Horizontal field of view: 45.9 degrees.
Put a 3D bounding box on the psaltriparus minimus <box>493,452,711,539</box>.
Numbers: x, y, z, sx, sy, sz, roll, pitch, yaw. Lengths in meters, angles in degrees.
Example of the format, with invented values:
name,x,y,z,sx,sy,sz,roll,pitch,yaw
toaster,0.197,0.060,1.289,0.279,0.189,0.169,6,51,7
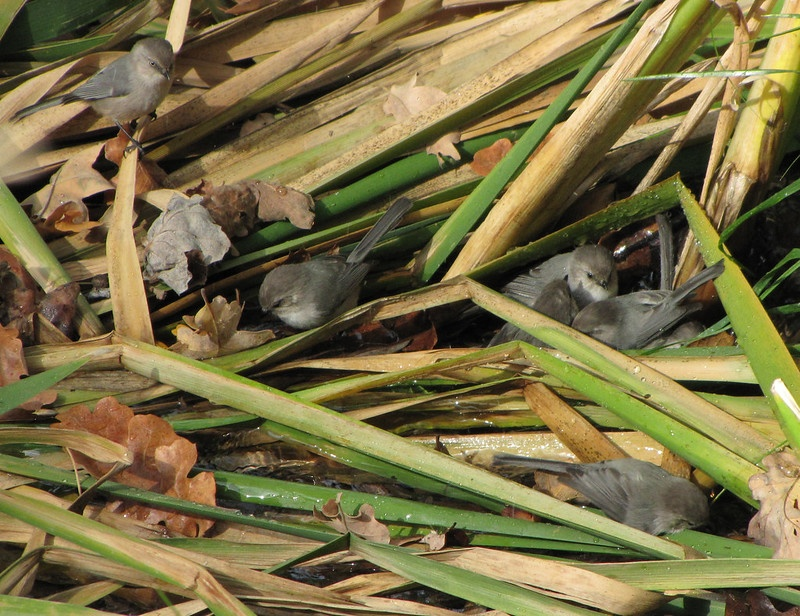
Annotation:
name,x,y,z,sx,sy,sz,roll,pitch,yaw
psaltriparus minimus,0.900,0.804,4.006,0.299,0.781,0.255,33,57,-24

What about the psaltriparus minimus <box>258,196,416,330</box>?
name,x,y,z,sx,sy,sz,roll,pitch,yaw
psaltriparus minimus,-0.321,-0.214,4.432,0.890,0.429,0.230,-29,62,7

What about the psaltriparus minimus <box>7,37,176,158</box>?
name,x,y,z,sx,sy,sz,roll,pitch,yaw
psaltriparus minimus,-1.448,-1.059,4.612,1.149,0.456,0.285,11,32,25

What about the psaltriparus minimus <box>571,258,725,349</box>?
name,x,y,z,sx,sy,sz,roll,pitch,yaw
psaltriparus minimus,1.173,0.005,4.267,0.895,0.354,0.204,-17,74,29
